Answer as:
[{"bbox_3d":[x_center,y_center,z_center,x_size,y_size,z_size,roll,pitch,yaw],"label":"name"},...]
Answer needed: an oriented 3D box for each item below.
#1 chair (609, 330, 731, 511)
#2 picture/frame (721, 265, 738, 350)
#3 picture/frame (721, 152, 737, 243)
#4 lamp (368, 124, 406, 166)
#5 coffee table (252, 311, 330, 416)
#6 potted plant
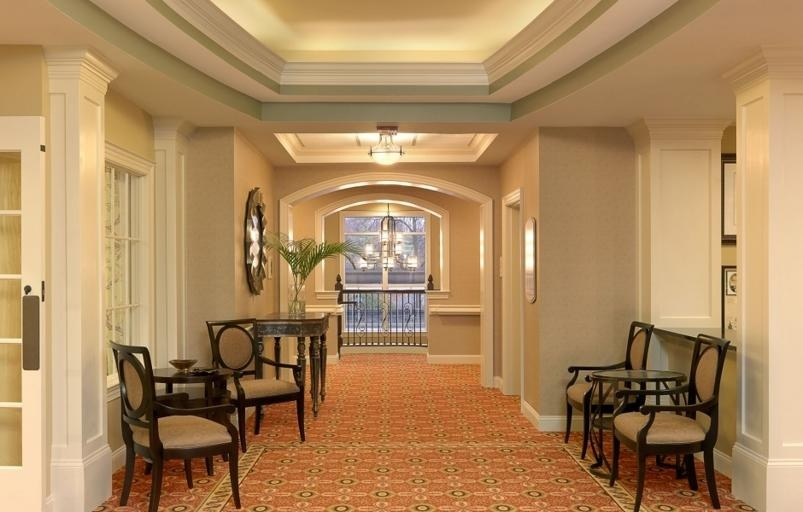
[{"bbox_3d":[2.491,1.500,5.120,1.041,1.481,0.526,0,-2,-7],"label":"chair"},{"bbox_3d":[3.659,0.461,6.233,0.145,0.741,1.066,-2,-3,30],"label":"picture/frame"},{"bbox_3d":[3.852,-0.680,6.566,0.195,1.058,0.123,-1,-2,7],"label":"picture/frame"},{"bbox_3d":[-0.189,-1.427,7.073,0.529,0.474,0.500,0,-2,-3],"label":"lamp"},{"bbox_3d":[-1.394,1.673,7.700,1.175,1.297,1.855,-1,-2,-5],"label":"coffee table"},{"bbox_3d":[-1.486,0.243,8.341,1.303,0.867,1.329,-1,-3,42],"label":"potted plant"}]
